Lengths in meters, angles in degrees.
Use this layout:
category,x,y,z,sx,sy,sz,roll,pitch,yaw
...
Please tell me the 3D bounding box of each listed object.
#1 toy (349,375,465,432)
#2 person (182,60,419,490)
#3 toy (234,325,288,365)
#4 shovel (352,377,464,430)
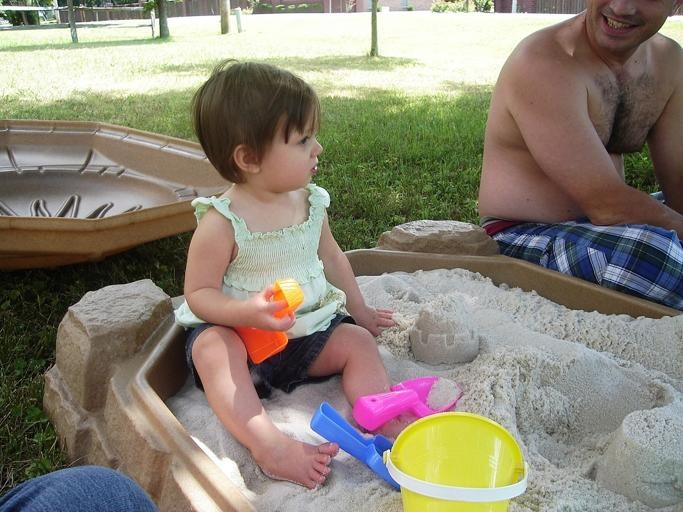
category,x,y,z,sx,sy,sz,roll,pitch,yaw
toy,0.190,0.434,1.646,0.264,0.071,0.163,-7,15,-32
person,-0.115,-0.010,1.765,0.717,1.161,0.864,-8,16,-30
toy,-0.254,0.277,1.700,0.116,0.131,0.036,1,15,21
shovel,0.185,0.435,1.647,0.262,0.071,0.163,-7,14,-32
